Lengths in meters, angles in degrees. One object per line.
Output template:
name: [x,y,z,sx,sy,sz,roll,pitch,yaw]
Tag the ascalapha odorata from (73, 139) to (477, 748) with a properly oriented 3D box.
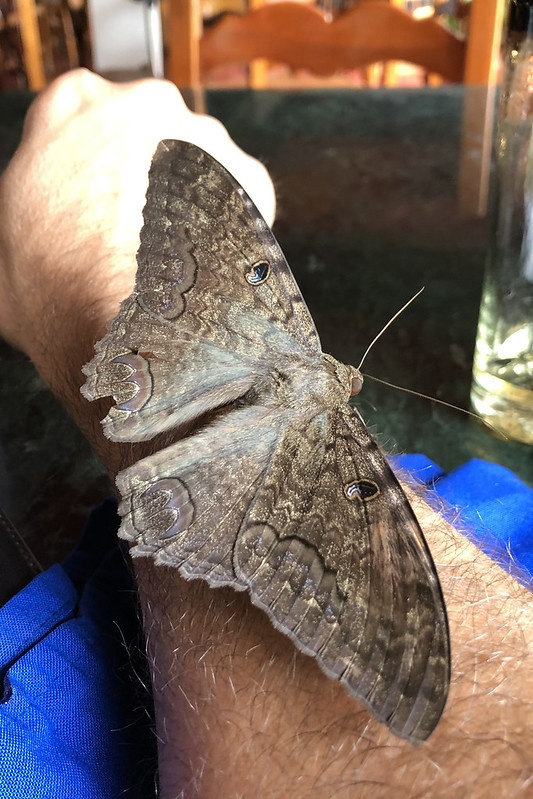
ascalapha odorata: [-0.001,0.002,0.396,0.195,0.225,0.311,-7,34,-15]
